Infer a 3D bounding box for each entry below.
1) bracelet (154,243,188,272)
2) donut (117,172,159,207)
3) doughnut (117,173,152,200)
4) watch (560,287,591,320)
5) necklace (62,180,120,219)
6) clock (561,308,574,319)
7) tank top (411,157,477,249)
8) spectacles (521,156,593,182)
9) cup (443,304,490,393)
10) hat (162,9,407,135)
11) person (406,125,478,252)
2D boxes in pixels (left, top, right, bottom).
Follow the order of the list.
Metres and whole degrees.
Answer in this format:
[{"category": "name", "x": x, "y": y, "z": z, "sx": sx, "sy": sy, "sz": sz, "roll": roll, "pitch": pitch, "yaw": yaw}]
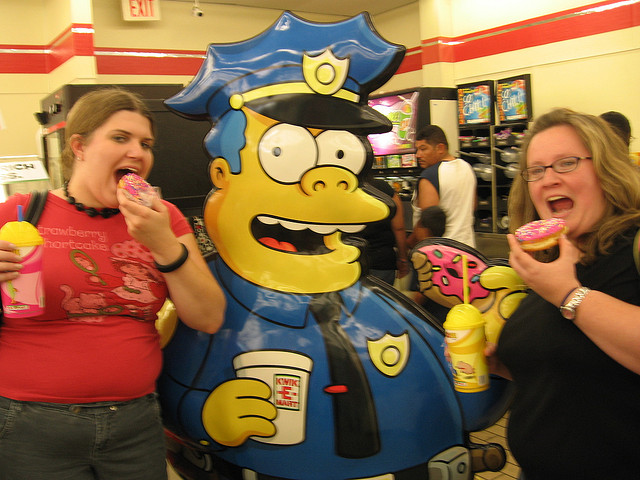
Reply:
[{"category": "bracelet", "x": -0.491, "y": 0.062, "z": 1.626, "sx": 0.105, "sy": 0.089, "sz": 0.047, "roll": -4, "pitch": 14, "yaw": -16}, {"category": "donut", "x": -0.599, "y": -0.160, "z": 1.593, "sx": 0.098, "sy": 0.098, "sz": 0.139, "roll": -5, "pitch": 13, "yaw": -17}, {"category": "doughnut", "x": -0.635, "y": -0.166, "z": 1.607, "sx": 0.120, "sy": 0.037, "sz": 0.094, "roll": 32, "pitch": 25, "yaw": 13}, {"category": "watch", "x": 0.754, "y": 0.196, "z": 1.418, "sx": 0.095, "sy": 0.081, "sz": 0.055, "roll": -29, "pitch": 22, "yaw": -24}, {"category": "necklace", "x": -0.800, "y": -0.147, "z": 1.715, "sx": 0.167, "sy": 0.027, "sz": 0.122, "roll": 20, "pitch": 5, "yaw": -19}, {"category": "clock", "x": 0.712, "y": 0.211, "z": 1.402, "sx": 0.019, "sy": 0.032, "sz": 0.033, "roll": -5, "pitch": 13, "yaw": -14}, {"category": "tank top", "x": 1.039, "y": -0.293, "z": 3.884, "sx": 0.405, "sy": 0.668, "sz": 0.445, "roll": 8, "pitch": 16, "yaw": 34}, {"category": "spectacles", "x": 0.770, "y": -0.227, "z": 1.589, "sx": 0.062, "sy": 0.086, "sz": 0.180, "roll": -13, "pitch": 17, "yaw": -42}, {"category": "cup", "x": 0.524, "y": 0.389, "z": 1.703, "sx": 0.142, "sy": 0.310, "sz": 0.135, "roll": -1, "pitch": 14, "yaw": 0}, {"category": "hat", "x": -0.172, "y": -0.697, "z": 2.194, "sx": 0.863, "sy": 0.331, "sz": 0.600, "roll": 0, "pitch": -4, "yaw": 30}, {"category": "person", "x": 0.996, "y": -0.413, "z": 3.890, "sx": 0.531, "sy": 0.959, "sz": 0.913, "roll": 2, "pitch": 13, "yaw": 13}]
